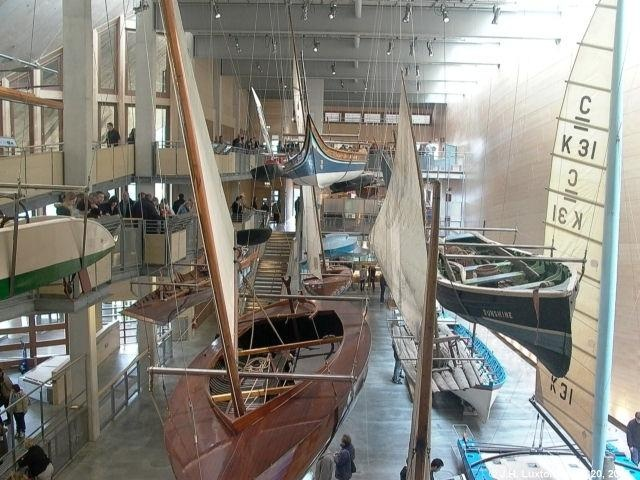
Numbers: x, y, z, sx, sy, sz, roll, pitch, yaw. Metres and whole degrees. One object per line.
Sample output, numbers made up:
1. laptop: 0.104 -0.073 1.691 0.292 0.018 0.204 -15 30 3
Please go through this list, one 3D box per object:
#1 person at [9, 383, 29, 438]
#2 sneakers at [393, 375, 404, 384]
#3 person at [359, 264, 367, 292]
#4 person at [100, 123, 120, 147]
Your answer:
1. person: -6.043 3.416 9.842 0.310 1.136 0.353 5 11 13
2. sneakers: 2.108 3.723 13.307 0.124 0.280 0.344 3 8 29
3. person: 2.158 1.895 24.764 0.263 1.415 0.180 -1 -15 24
4. person: -5.422 -2.717 12.877 0.318 0.664 0.999 -5 8 -22
